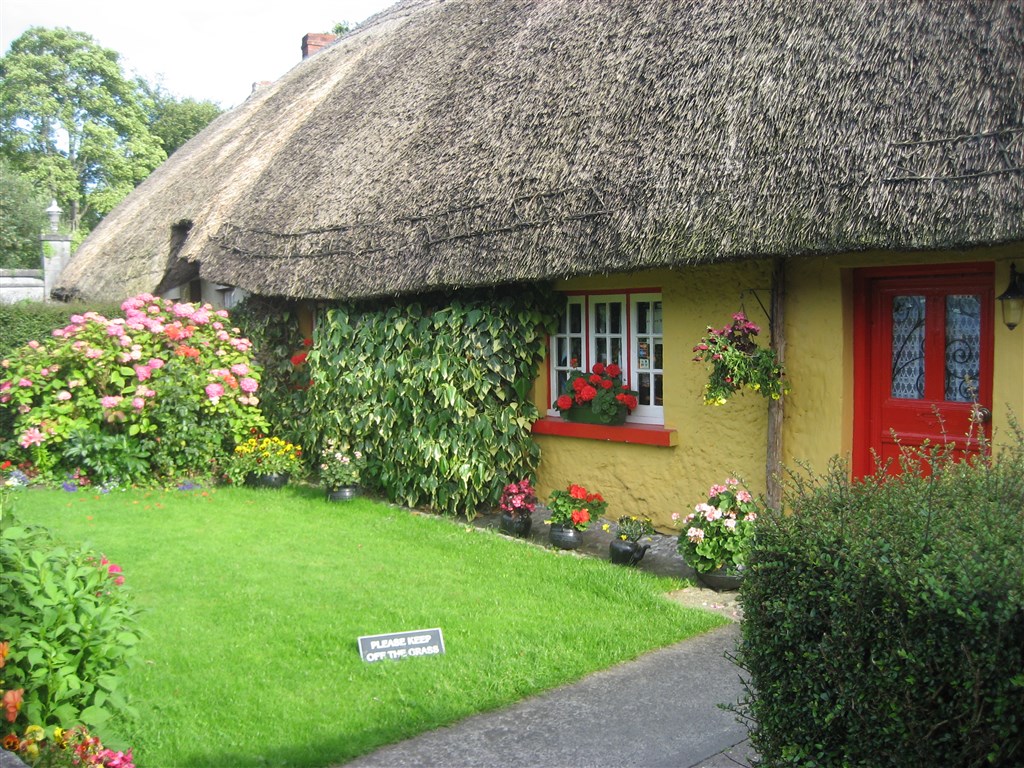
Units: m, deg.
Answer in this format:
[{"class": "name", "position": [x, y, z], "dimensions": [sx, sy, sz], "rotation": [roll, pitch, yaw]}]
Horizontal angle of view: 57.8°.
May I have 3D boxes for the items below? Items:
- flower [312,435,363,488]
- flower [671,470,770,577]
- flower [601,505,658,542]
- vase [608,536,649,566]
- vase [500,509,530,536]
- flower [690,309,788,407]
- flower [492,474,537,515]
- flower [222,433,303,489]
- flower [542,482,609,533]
[{"class": "flower", "position": [-2.065, 0.964, 11.308], "dimensions": [0.607, 0.721, 0.531], "rotation": [1, 1, -5]}, {"class": "flower", "position": [1.788, 1.183, 7.872], "dimensions": [0.853, 1.019, 0.780], "rotation": [-4, 7, -25]}, {"class": "flower", "position": [1.172, 1.425, 9.150], "dimensions": [0.342, 0.180, 0.361], "rotation": [1, 3, -22]}, {"class": "vase", "position": [1.097, 1.581, 8.789], "dimensions": [0.298, 0.232, 0.203], "rotation": [4, 1, 25]}, {"class": "vase", "position": [0.039, 1.455, 9.785], "dimensions": [0.307, 0.249, 0.161], "rotation": [0, 8, -3]}, {"class": "flower", "position": [2.051, -0.228, 8.469], "dimensions": [0.757, 0.715, 0.901], "rotation": [6, 4, 22]}, {"class": "flower", "position": [0.072, 1.186, 9.874], "dimensions": [0.327, 0.310, 0.333], "rotation": [1, -3, 45]}, {"class": "flower", "position": [-3.143, 1.007, 11.958], "dimensions": [0.642, 0.490, 0.643], "rotation": [3, -1, 44]}, {"class": "flower", "position": [0.645, 1.234, 9.366], "dimensions": [0.448, 0.449, 0.477], "rotation": [3, 1, -8]}]
